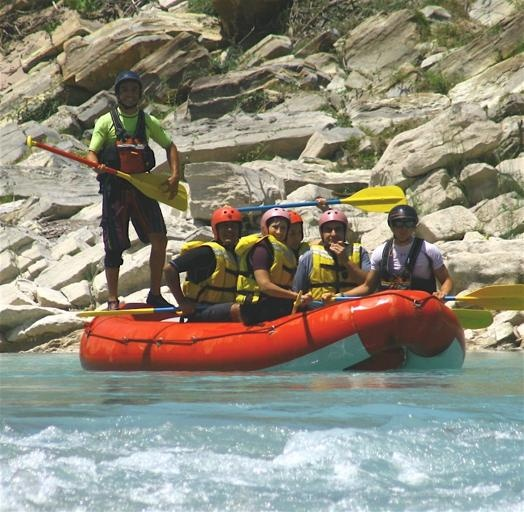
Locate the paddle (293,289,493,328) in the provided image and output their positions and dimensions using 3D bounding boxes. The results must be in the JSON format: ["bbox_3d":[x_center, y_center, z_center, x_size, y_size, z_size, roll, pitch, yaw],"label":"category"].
[{"bbox_3d":[1.646,0.622,8.972,1.249,0.189,0.608,3,-37,7],"label":"paddle"}]

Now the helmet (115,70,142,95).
[{"bbox_3d":[-1.339,-1.758,8.939,0.295,0.222,0.324,-2,4,-7],"label":"helmet"}]

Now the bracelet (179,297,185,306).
[{"bbox_3d":[-0.786,0.447,8.728,0.020,0.056,0.070,8,-8,9],"label":"bracelet"}]

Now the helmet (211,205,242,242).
[{"bbox_3d":[-0.339,-0.347,9.050,0.347,0.284,0.381,-2,-12,-9],"label":"helmet"}]

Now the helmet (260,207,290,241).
[{"bbox_3d":[0.162,-0.361,8.864,0.273,0.214,0.311,1,5,-12],"label":"helmet"}]

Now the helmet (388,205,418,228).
[{"bbox_3d":[1.374,-0.384,8.603,0.254,0.173,0.262,2,4,5],"label":"helmet"}]
